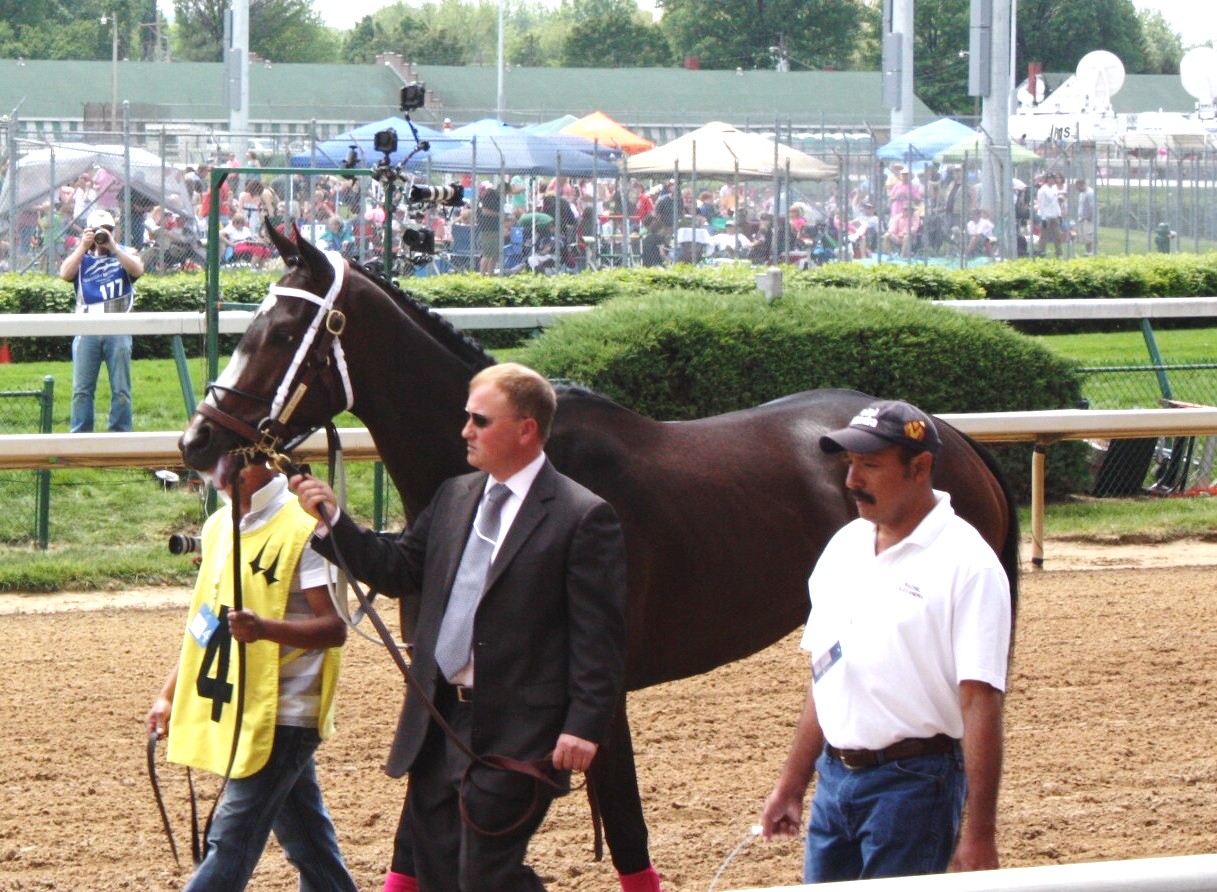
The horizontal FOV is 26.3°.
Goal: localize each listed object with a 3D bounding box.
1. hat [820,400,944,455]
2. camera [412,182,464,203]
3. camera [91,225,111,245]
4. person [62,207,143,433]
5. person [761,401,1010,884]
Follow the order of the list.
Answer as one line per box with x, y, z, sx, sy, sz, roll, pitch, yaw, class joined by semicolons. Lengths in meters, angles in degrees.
1.771;-0.102;17.205;0.579;0.276;0.393;1;-3;-11;hat
-1.544;-2.240;22.930;0.163;0.284;0.673;3;4;32;camera
-4.652;-1.955;24.025;0.126;0.164;0.287;1;7;18;camera
-4.645;-1.146;23.880;0.713;1.997;1.260;-3;7;-11;person
1.927;1.298;17.075;1.340;3.128;0.599;0;7;9;person
